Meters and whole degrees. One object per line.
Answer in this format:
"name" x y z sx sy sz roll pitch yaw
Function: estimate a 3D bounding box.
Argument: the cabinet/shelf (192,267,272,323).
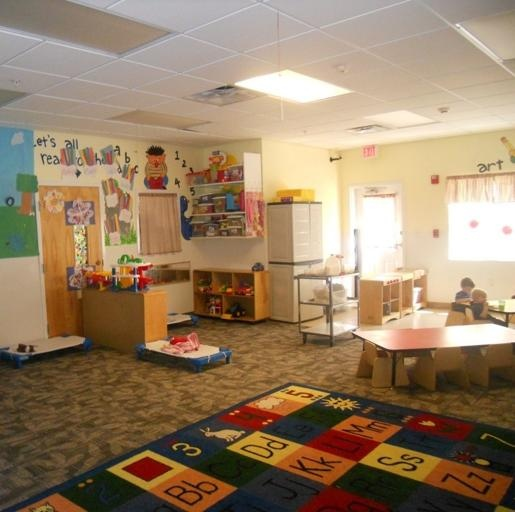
"cabinet/shelf" -0.425 0.760 8.296 1.296 0.630 0.324 2 2 33

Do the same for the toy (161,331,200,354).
"toy" -1.022 1.162 5.816 0.498 0.181 0.475 -3 4 -5

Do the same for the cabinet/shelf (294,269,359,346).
"cabinet/shelf" 1.028 0.818 7.380 1.039 1.201 1.459 4 9 39

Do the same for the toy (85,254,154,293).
"toy" -2.134 0.282 6.790 0.991 0.379 0.595 0 2 24

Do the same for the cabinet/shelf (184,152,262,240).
"cabinet/shelf" -0.724 -1.050 8.195 1.532 1.204 0.492 -1 -5 36
